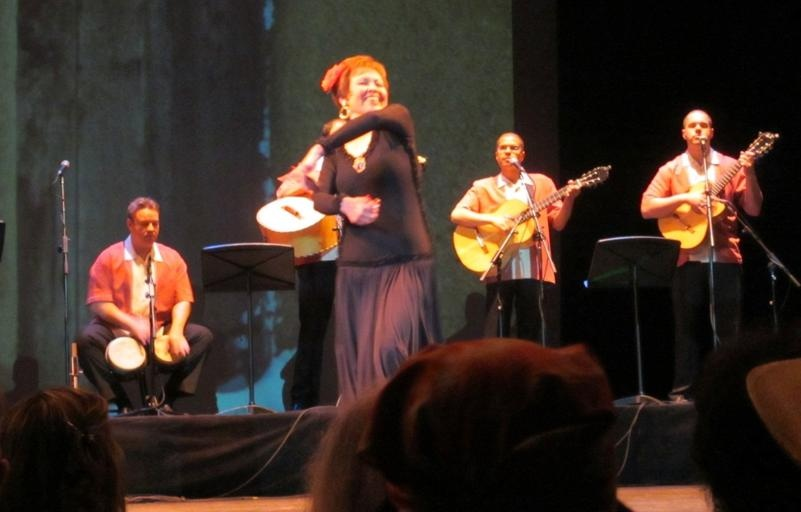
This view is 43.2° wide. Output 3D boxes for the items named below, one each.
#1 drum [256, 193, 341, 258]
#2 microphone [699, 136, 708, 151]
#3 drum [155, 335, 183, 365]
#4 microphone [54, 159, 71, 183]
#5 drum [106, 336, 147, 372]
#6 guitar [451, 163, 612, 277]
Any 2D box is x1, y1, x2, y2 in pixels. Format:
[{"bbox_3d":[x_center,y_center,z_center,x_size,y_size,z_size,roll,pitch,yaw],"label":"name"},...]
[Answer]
[{"bbox_3d":[-0.885,-0.264,8.775,0.621,0.354,0.585,3,36,-2],"label":"drum"},{"bbox_3d":[2.598,-0.950,8.634,0.062,0.141,0.077,31,-33,-31],"label":"microphone"},{"bbox_3d":[-1.970,0.799,8.560,0.214,0.242,0.191,1,-4,-14],"label":"drum"},{"bbox_3d":[-3.151,-0.785,9.420,0.106,0.254,0.079,25,-8,-6],"label":"microphone"},{"bbox_3d":[-2.273,0.820,8.392,0.252,0.297,0.282,-3,-5,39],"label":"drum"},{"bbox_3d":[1.066,-0.283,9.024,1.709,0.684,0.249,-35,-9,10],"label":"guitar"}]
